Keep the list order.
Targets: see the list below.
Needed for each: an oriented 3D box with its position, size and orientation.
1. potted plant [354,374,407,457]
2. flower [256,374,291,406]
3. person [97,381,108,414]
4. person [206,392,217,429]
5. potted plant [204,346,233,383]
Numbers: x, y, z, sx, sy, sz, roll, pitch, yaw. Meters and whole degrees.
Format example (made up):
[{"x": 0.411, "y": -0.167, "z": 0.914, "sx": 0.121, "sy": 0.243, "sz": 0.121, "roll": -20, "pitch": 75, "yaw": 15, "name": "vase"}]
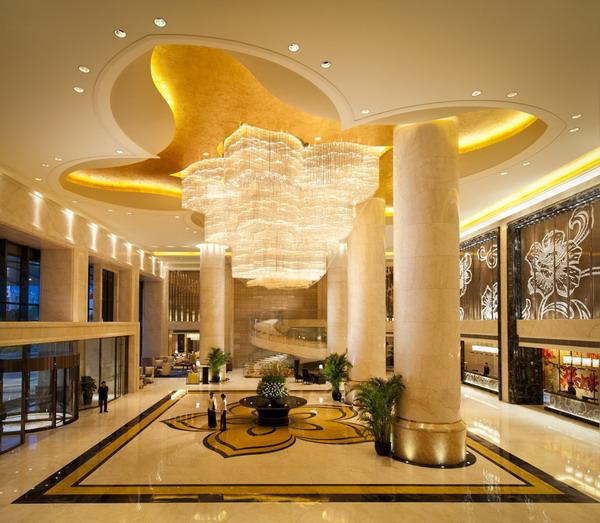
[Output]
[{"x": 1.599, "y": 3.051, "z": 9.680, "sx": 0.623, "sy": 1.599, "sz": 1.041, "roll": 4, "pitch": -7, "yaw": -28, "name": "potted plant"}, {"x": -0.695, "y": 3.226, "z": 12.313, "sx": 0.860, "sy": 0.682, "sz": 0.775, "roll": 0, "pitch": -3, "yaw": -7, "name": "flower"}, {"x": -5.827, "y": 3.973, "z": 14.270, "sx": 0.270, "sy": 0.829, "sz": 0.839, "roll": 3, "pitch": -6, "yaw": -22, "name": "person"}, {"x": -2.161, "y": 3.639, "z": 11.928, "sx": 0.210, "sy": 0.839, "sz": 0.537, "roll": 1, "pitch": -6, "yaw": -9, "name": "person"}, {"x": -3.467, "y": 4.329, "z": 20.128, "sx": 0.778, "sy": 1.392, "sz": 0.851, "roll": 1, "pitch": -6, "yaw": -5, "name": "potted plant"}]
